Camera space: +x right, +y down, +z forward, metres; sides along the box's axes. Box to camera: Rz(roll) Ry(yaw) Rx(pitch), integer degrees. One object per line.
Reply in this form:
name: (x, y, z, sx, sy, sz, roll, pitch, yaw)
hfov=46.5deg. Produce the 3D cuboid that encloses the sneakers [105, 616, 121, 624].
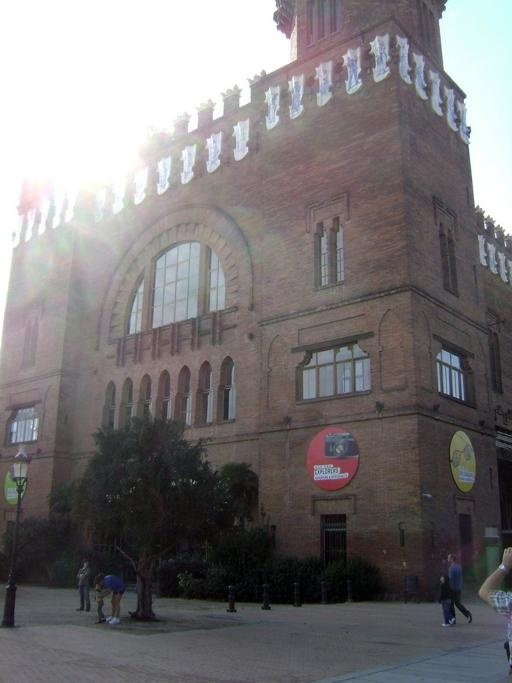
sneakers: (-3.277, 6.414, 13.748, 0.147, 0.175, 0.399, 10, -16, -27)

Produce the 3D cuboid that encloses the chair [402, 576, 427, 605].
chair: (5.093, 8.090, 19.437, 0.654, 1.226, 0.663, 5, -28, -11)

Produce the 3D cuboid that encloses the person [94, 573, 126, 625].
person: (-3.598, 6.289, 14.606, 0.664, 1.092, 2.628, 4, -19, -11)

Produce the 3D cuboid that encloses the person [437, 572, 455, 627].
person: (4.113, 5.591, 12.857, 0.249, 1.019, 0.994, -5, -20, 17)
